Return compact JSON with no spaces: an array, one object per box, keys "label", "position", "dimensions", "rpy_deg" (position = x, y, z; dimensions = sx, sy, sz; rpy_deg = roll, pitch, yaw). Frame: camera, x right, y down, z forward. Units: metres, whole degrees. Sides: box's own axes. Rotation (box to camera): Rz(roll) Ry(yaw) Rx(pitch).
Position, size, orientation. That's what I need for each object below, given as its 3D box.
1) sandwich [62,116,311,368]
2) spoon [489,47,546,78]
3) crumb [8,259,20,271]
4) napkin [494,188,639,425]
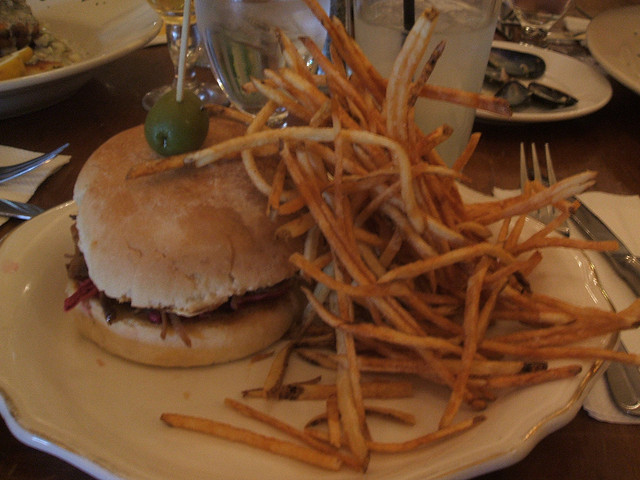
[{"label":"sandwich","position":[-0.251,-0.009,1.257],"dimensions":[0.490,0.324,0.503],"rpy_deg":[7,28,0]},{"label":"spoon","position":[0.609,-0.541,1.835],"dimensions":[0.149,0.037,0.102],"rpy_deg":[26,58,34]},{"label":"crumb","position":[-0.595,0.047,1.164],"dimensions":[0.005,0.020,0.021],"rpy_deg":[-28,65,15]},{"label":"napkin","position":[0.628,0.077,1.356],"dimensions":[0.190,0.044,0.762],"rpy_deg":[-3,39,-3]}]
